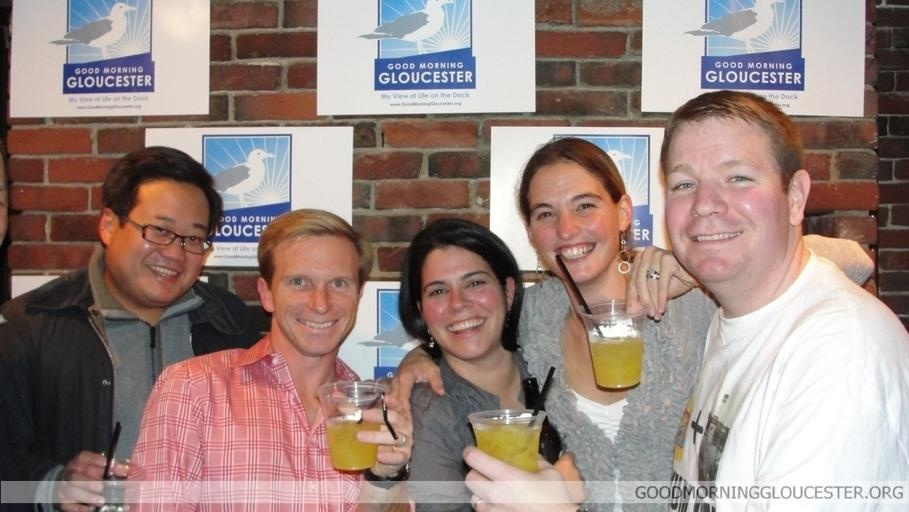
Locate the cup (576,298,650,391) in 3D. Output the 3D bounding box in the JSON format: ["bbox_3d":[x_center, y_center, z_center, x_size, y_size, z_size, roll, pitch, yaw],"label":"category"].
[{"bbox_3d":[0.877,0.472,4.244,0.538,0.501,0.457,-5,-6,-3],"label":"cup"}]

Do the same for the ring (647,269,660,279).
[{"bbox_3d":[1.102,0.098,4.265,0.048,0.030,0.058,0,-18,18],"label":"ring"}]

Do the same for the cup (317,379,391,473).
[{"bbox_3d":[-0.524,0.922,4.110,0.377,0.508,0.161,-2,3,-5],"label":"cup"}]

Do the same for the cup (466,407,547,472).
[{"bbox_3d":[0.275,0.927,3.896,0.364,0.251,0.347,-1,-6,0],"label":"cup"}]
